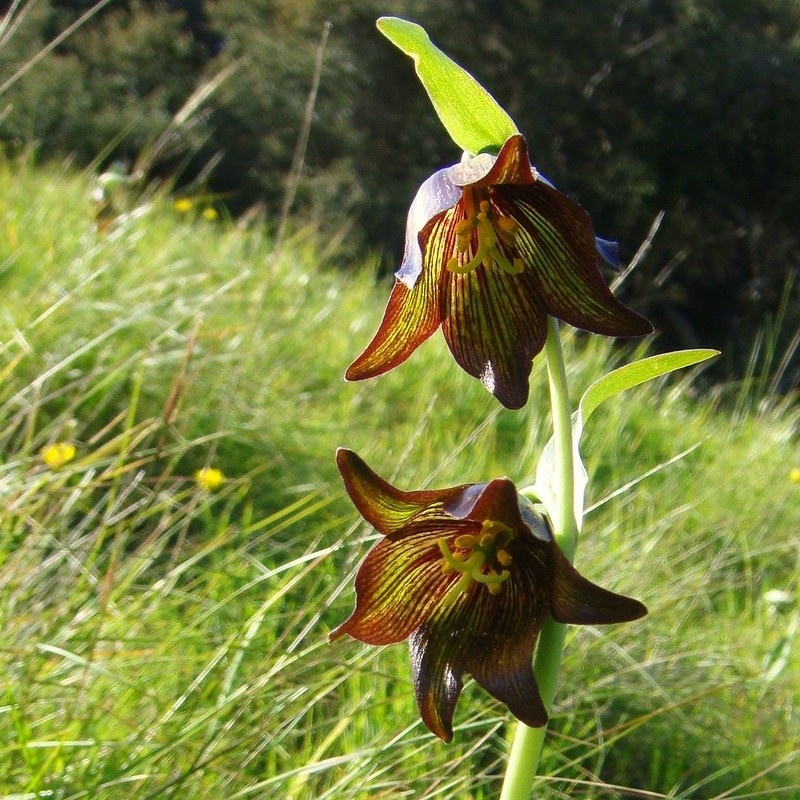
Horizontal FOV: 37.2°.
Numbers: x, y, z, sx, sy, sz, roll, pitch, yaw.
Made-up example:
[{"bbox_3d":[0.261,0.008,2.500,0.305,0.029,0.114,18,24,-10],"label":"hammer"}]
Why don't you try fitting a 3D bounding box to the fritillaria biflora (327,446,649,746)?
[{"bbox_3d":[0.090,0.285,1.755,0.437,0.450,0.176,8,16,21],"label":"fritillaria biflora"}]
